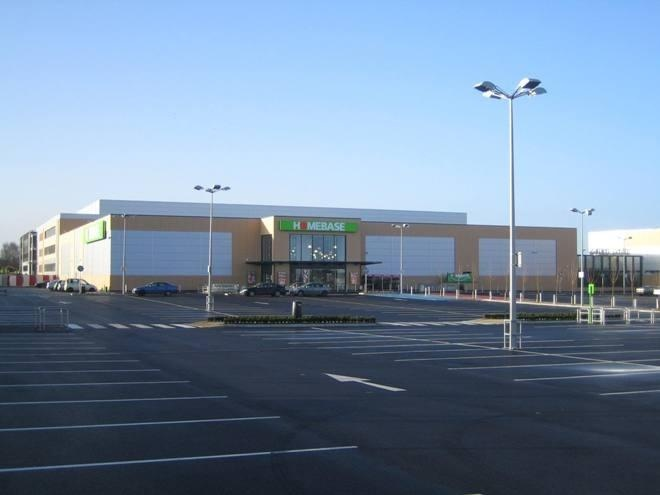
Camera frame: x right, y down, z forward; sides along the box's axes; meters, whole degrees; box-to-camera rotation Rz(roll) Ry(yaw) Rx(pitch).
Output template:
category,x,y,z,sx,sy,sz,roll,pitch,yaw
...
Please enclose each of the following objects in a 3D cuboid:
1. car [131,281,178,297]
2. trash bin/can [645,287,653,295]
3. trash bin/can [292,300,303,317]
category,x,y,z,sx,sy,sz,roll,pitch,yaw
car,-14.344,3.549,68.170,3.473,1.049,2.506,0,2,-17
trash bin/can,34.853,4.832,90.390,0.903,0.649,2.769,1,2,22
trash bin/can,-1.525,2.872,37.949,0.414,0.708,1.416,0,2,-3
